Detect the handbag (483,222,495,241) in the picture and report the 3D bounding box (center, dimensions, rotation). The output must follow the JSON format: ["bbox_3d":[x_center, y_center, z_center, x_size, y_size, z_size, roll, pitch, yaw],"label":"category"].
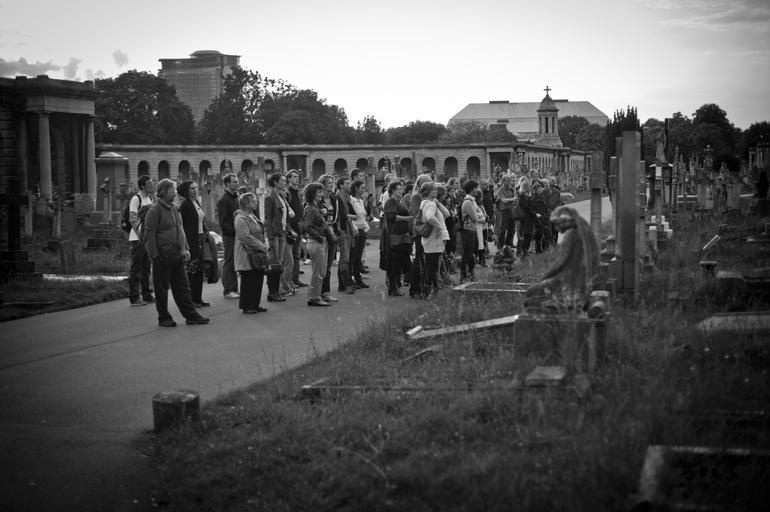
[{"bbox_3d":[3.070,-0.744,22.098,0.294,0.439,1.252,-9,-24,4],"label":"handbag"}]

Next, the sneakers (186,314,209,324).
[{"bbox_3d":[-3.198,1.063,12.686,0.317,0.176,0.166,-3,-1,-2],"label":"sneakers"}]

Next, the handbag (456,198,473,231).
[{"bbox_3d":[1.720,-0.962,16.405,0.420,0.943,0.667,-1,7,8],"label":"handbag"}]

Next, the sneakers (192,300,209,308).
[{"bbox_3d":[-3.485,0.878,14.033,0.255,0.133,0.103,-1,4,-4],"label":"sneakers"}]

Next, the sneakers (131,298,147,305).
[{"bbox_3d":[-4.775,0.872,14.489,0.287,0.147,0.117,-5,21,13],"label":"sneakers"}]

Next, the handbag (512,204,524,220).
[{"bbox_3d":[3.472,-1.195,19.603,0.281,0.594,0.414,-1,5,-1],"label":"handbag"}]

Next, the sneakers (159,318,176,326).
[{"bbox_3d":[-3.644,1.109,12.474,0.238,0.130,0.127,-6,4,17],"label":"sneakers"}]

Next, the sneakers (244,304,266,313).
[{"bbox_3d":[-2.371,0.956,13.525,0.376,0.192,0.154,-5,0,7],"label":"sneakers"}]

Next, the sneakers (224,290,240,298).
[{"bbox_3d":[-3.119,0.762,15.096,0.298,0.140,0.151,-4,-38,18],"label":"sneakers"}]

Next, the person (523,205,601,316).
[{"bbox_3d":[2.500,0.026,10.213,1.119,1.912,1.051,2,3,29],"label":"person"}]

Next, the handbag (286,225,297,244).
[{"bbox_3d":[-1.899,-0.441,15.062,0.111,0.315,0.213,3,-11,35],"label":"handbag"}]
